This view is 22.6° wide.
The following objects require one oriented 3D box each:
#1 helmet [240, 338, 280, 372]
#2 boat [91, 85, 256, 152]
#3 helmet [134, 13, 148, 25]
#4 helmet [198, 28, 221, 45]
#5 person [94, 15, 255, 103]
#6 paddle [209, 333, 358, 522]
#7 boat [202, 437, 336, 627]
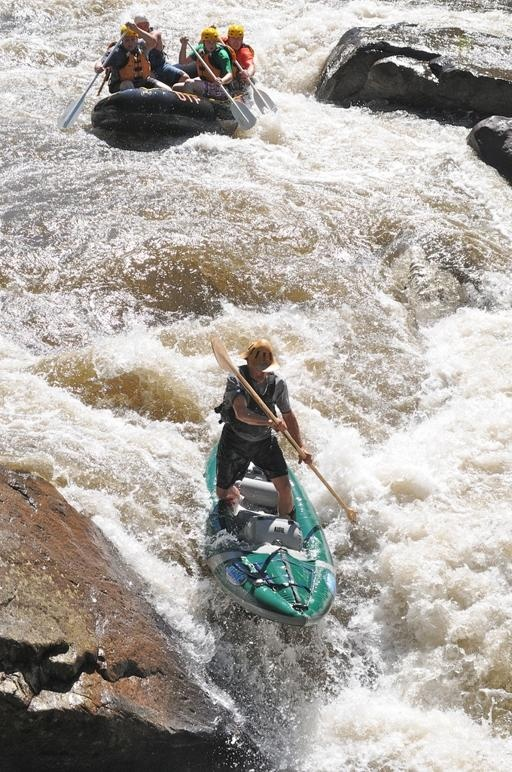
[{"bbox_3d":[0.046,-0.229,10.948,0.256,0.166,0.258,9,58,-19],"label":"helmet"},{"bbox_3d":[-1.178,-3.617,17.398,1.815,0.391,0.970,-6,19,-23],"label":"boat"},{"bbox_3d":[-1.639,-5.259,18.434,0.177,0.184,0.240,-5,-4,-3],"label":"helmet"},{"bbox_3d":[-0.633,-4.975,18.280,0.218,0.243,0.298,-2,18,-5],"label":"helmet"},{"bbox_3d":[-1.102,-4.625,18.218,1.843,0.727,1.314,-4,40,-3],"label":"person"},{"bbox_3d":[0.261,0.473,12.187,2.329,0.150,0.330,45,-10,-10],"label":"paddle"},{"bbox_3d":[0.074,1.295,11.488,0.645,0.408,1.912,1,35,-22],"label":"boat"}]
